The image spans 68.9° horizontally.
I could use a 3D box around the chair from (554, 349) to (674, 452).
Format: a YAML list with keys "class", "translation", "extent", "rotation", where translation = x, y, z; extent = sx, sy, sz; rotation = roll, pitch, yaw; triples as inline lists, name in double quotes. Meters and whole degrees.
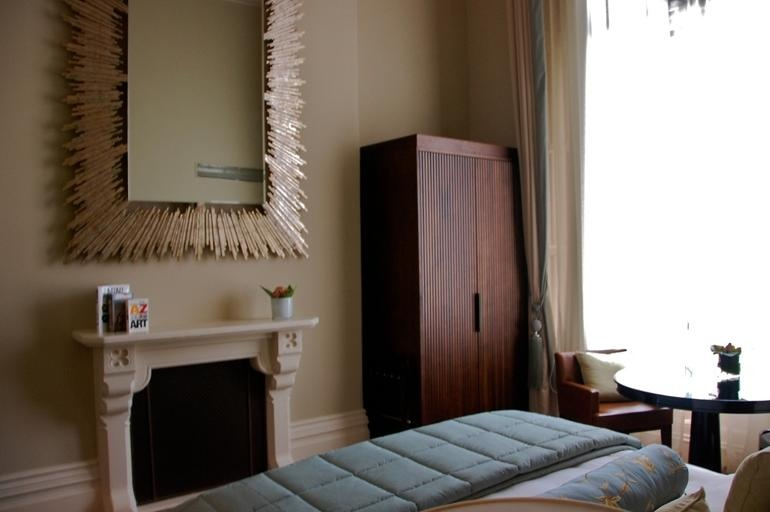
- class: "chair"
  translation: [1.661, 1.007, 4.305]
  extent: [0.639, 0.990, 0.726]
  rotation: [1, -5, -16]

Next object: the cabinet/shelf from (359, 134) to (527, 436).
- class: "cabinet/shelf"
  translation: [0.589, 0.202, 4.919]
  extent: [1.051, 2.396, 0.664]
  rotation: [-5, 9, -22]

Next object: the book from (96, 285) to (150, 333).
- class: "book"
  translation: [-1.798, 0.307, 3.720]
  extent: [0.294, 0.446, 0.307]
  rotation: [-1, -1, 40]
